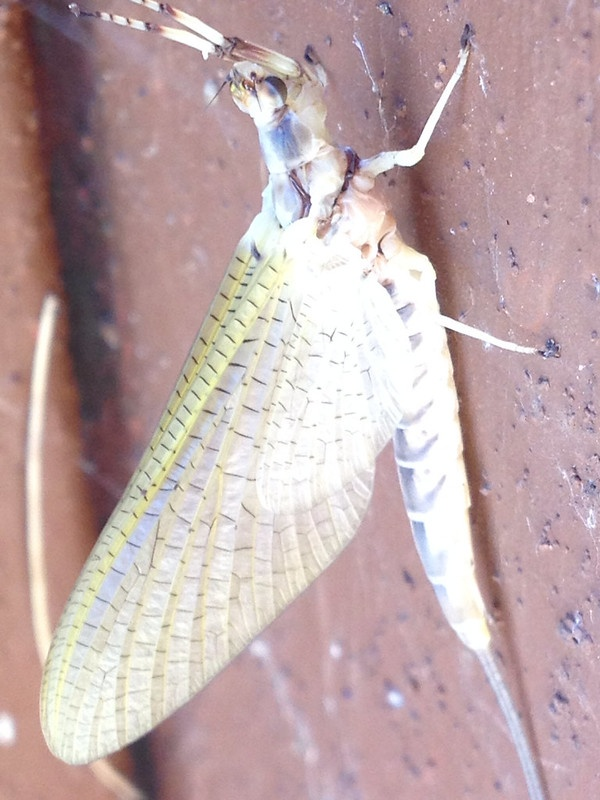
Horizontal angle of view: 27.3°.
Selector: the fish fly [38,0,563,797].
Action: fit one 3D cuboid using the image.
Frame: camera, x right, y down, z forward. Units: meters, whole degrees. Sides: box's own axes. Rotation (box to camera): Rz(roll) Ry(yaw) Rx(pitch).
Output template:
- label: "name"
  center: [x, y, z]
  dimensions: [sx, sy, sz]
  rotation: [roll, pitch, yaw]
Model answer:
- label: "fish fly"
  center: [0.047, -0.011, 0.843]
  dimensions: [0.119, 0.463, 0.438]
  rotation: [-15, 23, -25]
